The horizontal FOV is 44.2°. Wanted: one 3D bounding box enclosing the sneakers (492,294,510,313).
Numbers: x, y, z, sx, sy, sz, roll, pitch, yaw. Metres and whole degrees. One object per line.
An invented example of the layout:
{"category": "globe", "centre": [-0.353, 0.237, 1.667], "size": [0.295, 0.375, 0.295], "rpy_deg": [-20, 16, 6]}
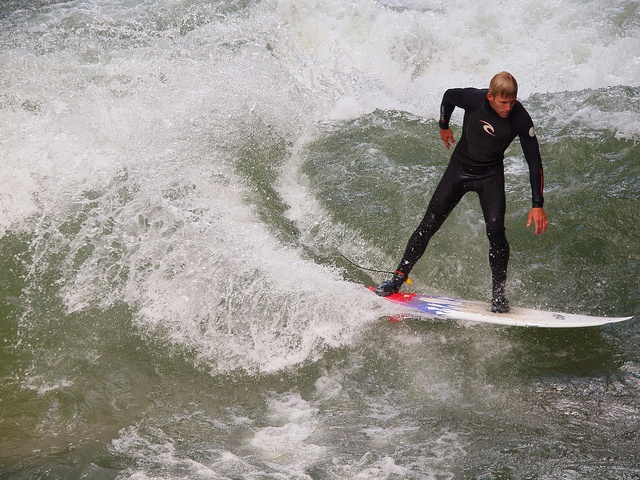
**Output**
{"category": "sneakers", "centre": [2.062, 0.721, 9.047], "size": [0.172, 0.074, 0.216], "rpy_deg": [-8, 79, 12]}
